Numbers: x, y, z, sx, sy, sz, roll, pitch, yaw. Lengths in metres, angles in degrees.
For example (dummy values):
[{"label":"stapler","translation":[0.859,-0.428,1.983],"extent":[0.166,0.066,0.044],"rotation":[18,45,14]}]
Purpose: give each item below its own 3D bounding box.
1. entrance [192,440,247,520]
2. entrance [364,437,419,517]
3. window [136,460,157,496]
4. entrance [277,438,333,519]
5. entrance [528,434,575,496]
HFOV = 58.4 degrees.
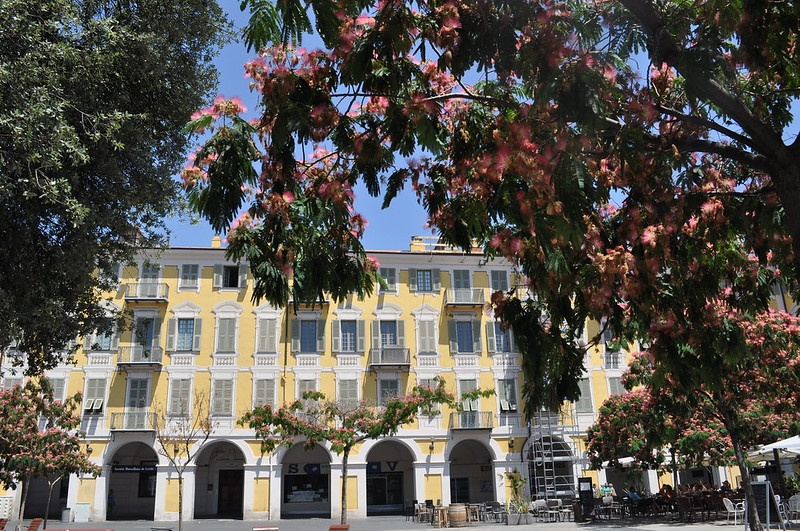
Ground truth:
[{"label":"entrance","translation":[-9.167,11.217,37.566],"extent":[3.191,4.689,0.455],"rotation":[2,22,-14]},{"label":"entrance","translation":[-0.655,11.234,38.474],"extent":[2.950,4.335,0.249],"rotation":[-2,11,-10]},{"label":"window","translation":[-13.022,11.082,36.846],"extent":[1.008,1.937,0.063],"rotation":[1,11,1]},{"label":"entrance","translation":[-4.939,11.341,37.385],"extent":[2.728,0.306,3.933],"rotation":[1,38,-8]},{"label":"entrance","translation":[7.589,10.101,36.253],"extent":[2.170,3.154,1.691],"rotation":[-5,-10,11]}]
